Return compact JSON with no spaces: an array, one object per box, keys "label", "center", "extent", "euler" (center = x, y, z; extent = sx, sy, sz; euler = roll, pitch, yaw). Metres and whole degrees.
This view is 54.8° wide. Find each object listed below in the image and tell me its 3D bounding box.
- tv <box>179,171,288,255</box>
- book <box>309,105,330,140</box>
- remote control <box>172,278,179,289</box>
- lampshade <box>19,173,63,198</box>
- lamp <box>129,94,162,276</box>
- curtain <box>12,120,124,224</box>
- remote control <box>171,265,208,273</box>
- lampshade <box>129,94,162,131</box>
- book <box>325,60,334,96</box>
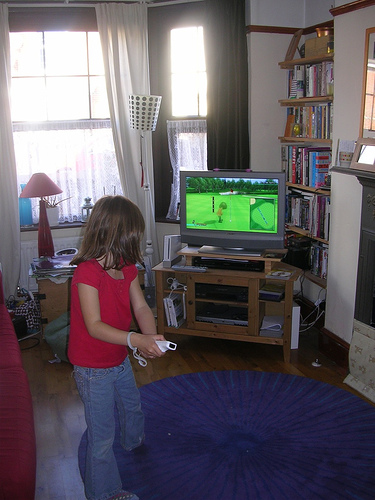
[{"label":"tv","center":[0.362,-0.295,2.775],"extent":[0.617,0.481,0.086],"euler":[3,15,18]},{"label":"book","center":[1.111,-1.050,2.932],"extent":[0.132,0.250,0.248],"euler":[-15,23,-21]},{"label":"remote control","center":[-0.101,0.272,2.977],"extent":[0.044,0.061,0.035],"euler":[8,-3,35]},{"label":"lampshade","center":[-1.323,-0.572,3.245],"extent":[0.252,0.159,0.259],"euler":[12,27,23]},{"label":"lamp","center":[-0.430,-0.598,3.747],"extent":[0.373,1.943,0.401],"euler":[-7,22,-19]},{"label":"curtain","center":[-1.212,-0.830,3.531],"extent":[1.188,1.207,0.089],"euler":[-3,10,-8]},{"label":"remote control","center":[0.022,0.147,2.818],"extent":[0.177,0.025,0.093],"euler":[1,5,19]},{"label":"lampshade","center":[-0.418,-1.305,3.447],"extent":[0.289,0.277,0.320],"euler":[-10,19,-37]},{"label":"book","center":[1.074,-1.301,2.737],"extent":[0.030,0.258,0.126],"euler":[-2,4,4]}]
